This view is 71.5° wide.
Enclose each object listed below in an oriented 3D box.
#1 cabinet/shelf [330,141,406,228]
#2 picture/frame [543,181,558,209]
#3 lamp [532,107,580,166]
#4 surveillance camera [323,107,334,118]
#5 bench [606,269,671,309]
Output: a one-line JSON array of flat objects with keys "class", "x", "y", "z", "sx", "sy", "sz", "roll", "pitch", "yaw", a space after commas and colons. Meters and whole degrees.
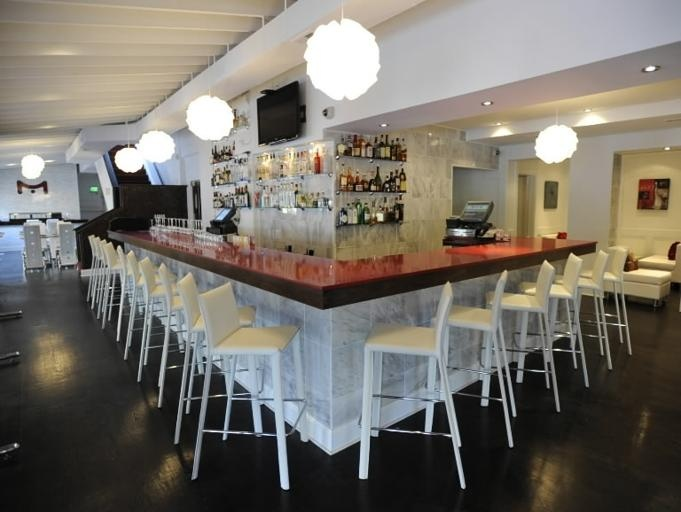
[{"class": "cabinet/shelf", "x": 0.428, "y": -1.031, "z": 6.281, "sx": 0.324, "sy": 1.222, "sz": 1.216, "roll": 8, "pitch": 11, "yaw": 44}, {"class": "picture/frame", "x": 4.376, "y": -1.299, "z": 9.894, "sx": 0.516, "sy": 0.575, "sz": 0.041, "roll": -12, "pitch": 16, "yaw": -42}, {"class": "lamp", "x": 2.516, "y": -1.327, "z": 5.519, "sx": 0.416, "sy": 0.415, "sz": 0.244, "roll": 3, "pitch": 8, "yaw": 19}, {"class": "surveillance camera", "x": -0.155, "y": -1.751, "z": 5.764, "sx": 0.032, "sy": 0.143, "sz": 0.210, "roll": -6, "pitch": 10, "yaw": -41}, {"class": "bench", "x": 4.254, "y": 0.462, "z": 6.728, "sx": 0.328, "sy": 0.324, "sz": 0.479, "roll": -6, "pitch": 10, "yaw": -26}]
